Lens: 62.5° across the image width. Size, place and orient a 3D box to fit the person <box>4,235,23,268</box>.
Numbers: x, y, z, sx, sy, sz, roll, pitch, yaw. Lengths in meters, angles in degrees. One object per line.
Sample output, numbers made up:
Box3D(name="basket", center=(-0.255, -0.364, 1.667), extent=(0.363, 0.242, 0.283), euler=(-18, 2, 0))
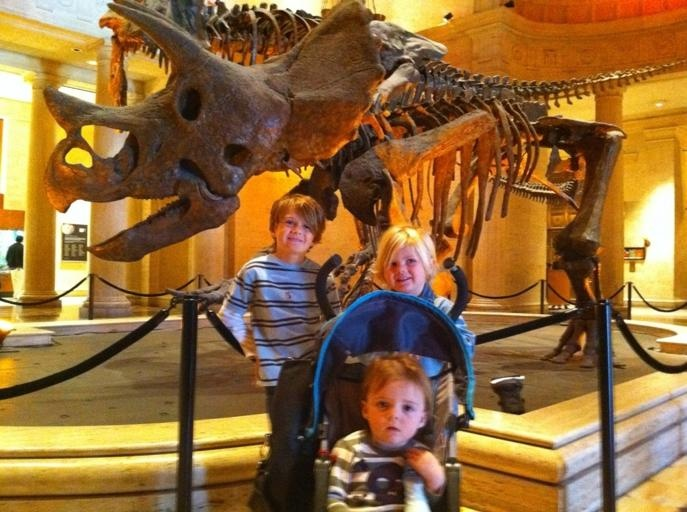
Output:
Box3D(name="person", center=(-7.770, -0.050, 13.399), extent=(0.336, 0.680, 0.879), euler=(1, 1, -30))

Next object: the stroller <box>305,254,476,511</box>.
Box3D(name="stroller", center=(0.213, 0.553, 2.625), extent=(0.759, 1.030, 0.431), euler=(2, -18, 3))
